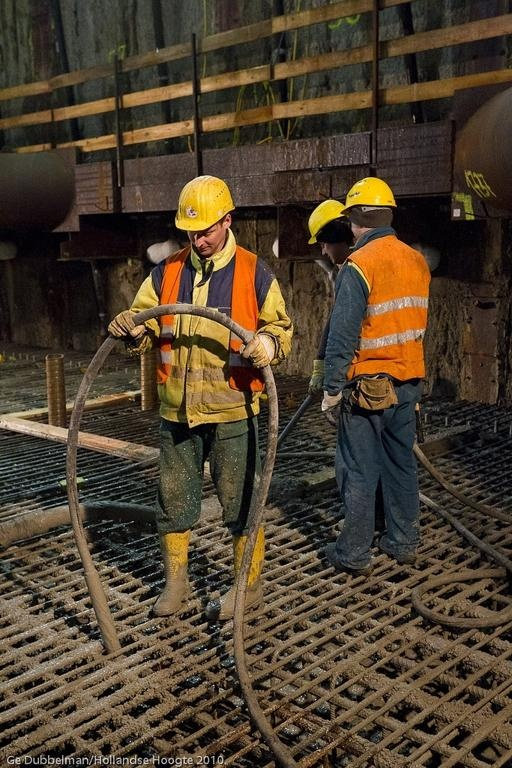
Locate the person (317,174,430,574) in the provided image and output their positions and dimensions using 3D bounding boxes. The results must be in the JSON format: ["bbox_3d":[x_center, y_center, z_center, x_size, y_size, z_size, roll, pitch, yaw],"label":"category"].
[{"bbox_3d":[0.566,-0.040,3.505,0.435,1.822,0.651,3,16,20],"label":"person"}]

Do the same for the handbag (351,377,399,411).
[{"bbox_3d":[0.540,0.034,3.329,0.154,0.172,0.078,-1,16,7],"label":"handbag"}]

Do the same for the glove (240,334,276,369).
[{"bbox_3d":[0.010,-0.125,2.739,0.093,0.132,0.245,0,14,9],"label":"glove"}]

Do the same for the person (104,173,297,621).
[{"bbox_3d":[-0.197,0.073,2.983,0.688,1.770,0.597,-1,15,2],"label":"person"}]

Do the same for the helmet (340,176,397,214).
[{"bbox_3d":[0.530,-0.914,3.598,0.174,0.110,0.205,-5,15,-20],"label":"helmet"}]

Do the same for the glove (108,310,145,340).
[{"bbox_3d":[-0.500,-0.225,2.815,0.099,0.055,0.126,-11,9,4],"label":"glove"}]

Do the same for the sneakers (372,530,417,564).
[{"bbox_3d":[0.680,0.791,3.618,0.124,0.082,0.160,-7,17,-42],"label":"sneakers"}]

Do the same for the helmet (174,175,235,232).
[{"bbox_3d":[-0.216,-0.738,2.920,0.224,0.153,0.288,15,38,16],"label":"helmet"}]
